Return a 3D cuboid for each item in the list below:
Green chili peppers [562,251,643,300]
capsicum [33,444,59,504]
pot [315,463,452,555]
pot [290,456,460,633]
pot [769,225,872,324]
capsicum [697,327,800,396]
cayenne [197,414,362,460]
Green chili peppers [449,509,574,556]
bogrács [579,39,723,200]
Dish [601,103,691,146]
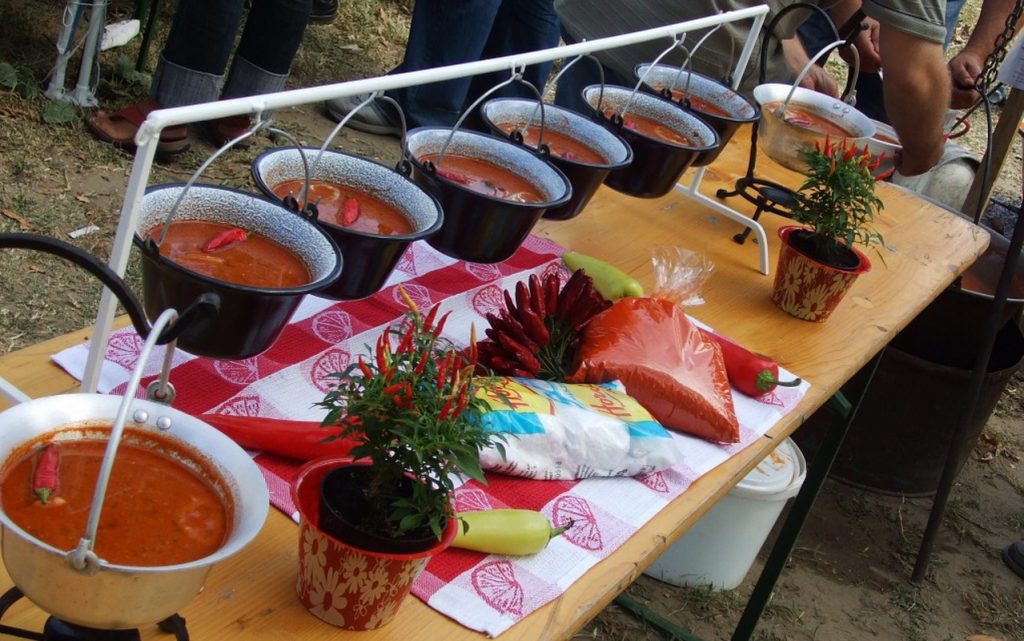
[{"bbox_3d":[0.219,-0.094,1.634,0.187,0.091,0.075,31,0,11],"label":"Green chili peppers"},{"bbox_3d":[-0.545,0.181,0.794,0.023,0.021,0.068,-10,54,2],"label":"capsicum"},{"bbox_3d":[-0.187,0.272,0.941,0.138,0.052,0.130,15,32,-10],"label":"pot"},{"bbox_3d":[-0.201,0.355,1.044,0.244,0.160,0.236,22,18,-7],"label":"pot"},{"bbox_3d":[0.779,-0.106,1.869,0.253,0.177,0.240,12,29,-7],"label":"pot"},{"bbox_3d":[0.503,0.080,1.587,0.081,0.069,0.326,-23,32,-29],"label":"capsicum"},{"bbox_3d":[-0.355,0.180,1.037,0.228,0.051,0.043,11,28,-6],"label":"cayenne"},{"bbox_3d":[-0.007,0.342,1.112,0.225,0.067,0.064,3,47,-7],"label":"Green chili peppers"},{"bbox_3d":[0.278,-0.477,1.705,0.371,0.247,0.370,33,20,12],"label":"bogrács"},{"bbox_3d":[0.342,-0.477,1.699,0.185,0.030,0.150,25,18,13],"label":"Dish"}]
